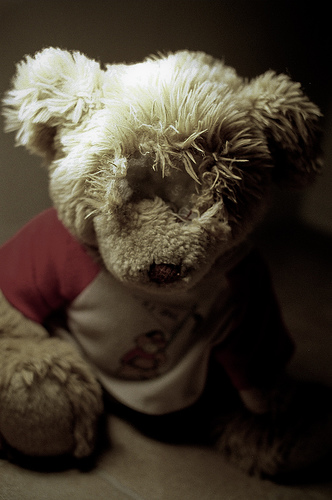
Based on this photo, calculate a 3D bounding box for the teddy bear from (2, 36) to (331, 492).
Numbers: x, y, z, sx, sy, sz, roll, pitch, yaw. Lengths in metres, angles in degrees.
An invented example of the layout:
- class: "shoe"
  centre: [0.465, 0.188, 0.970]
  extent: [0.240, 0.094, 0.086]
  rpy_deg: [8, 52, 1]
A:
- class: "teddy bear"
  centre: [0.004, 0.054, 1.093]
  extent: [0.660, 0.804, 0.474]
  rpy_deg: [3, 33, 11]
